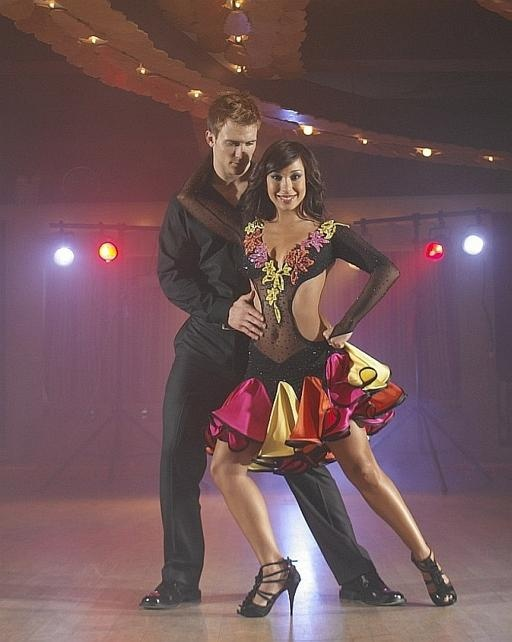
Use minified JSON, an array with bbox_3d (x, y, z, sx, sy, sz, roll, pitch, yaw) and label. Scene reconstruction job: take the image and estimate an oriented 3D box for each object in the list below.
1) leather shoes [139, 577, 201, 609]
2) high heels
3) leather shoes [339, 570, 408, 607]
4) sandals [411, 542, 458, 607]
[{"bbox_3d":[-0.284,0.903,1.985,0.186,0.060,0.074,6,-15,-21],"label":"leather shoes"},{"bbox_3d":[-0.020,0.856,1.930,0.274,0.175,0.111,1,-9,-13],"label":"high heels"},{"bbox_3d":[0.375,0.906,2.043,0.237,0.083,0.085,-8,-14,33],"label":"leather shoes"},{"bbox_3d":[0.564,0.830,1.998,0.080,0.206,0.083,-32,-24,10],"label":"sandals"}]
